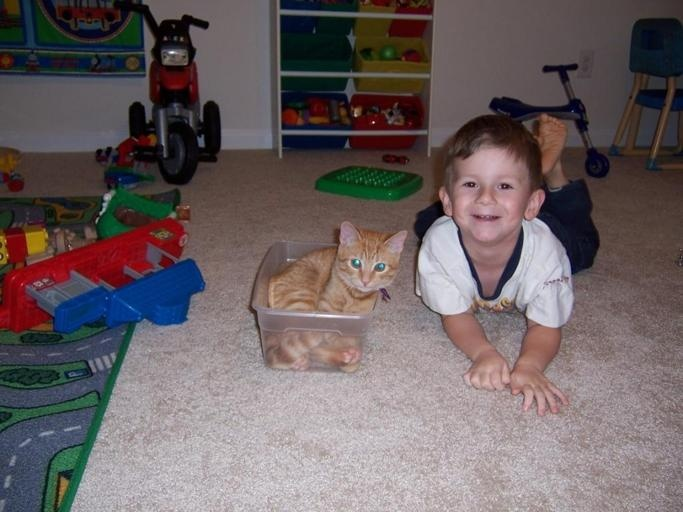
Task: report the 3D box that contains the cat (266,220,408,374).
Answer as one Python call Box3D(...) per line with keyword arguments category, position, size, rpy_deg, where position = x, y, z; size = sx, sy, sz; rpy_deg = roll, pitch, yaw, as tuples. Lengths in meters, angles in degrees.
Box3D(category="cat", position=(-0.021, 0.073, 1.691), size=(0.402, 0.385, 0.431), rpy_deg=(1, 25, -1))

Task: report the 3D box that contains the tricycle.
Box3D(category="tricycle", position=(-0.970, -0.895, 3.084), size=(0.523, 0.896, 0.579), rpy_deg=(-1, 24, -5))

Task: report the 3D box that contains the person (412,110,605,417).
Box3D(category="person", position=(0.535, -0.115, 1.840), size=(0.614, 0.697, 1.159), rpy_deg=(2, 31, 12))
